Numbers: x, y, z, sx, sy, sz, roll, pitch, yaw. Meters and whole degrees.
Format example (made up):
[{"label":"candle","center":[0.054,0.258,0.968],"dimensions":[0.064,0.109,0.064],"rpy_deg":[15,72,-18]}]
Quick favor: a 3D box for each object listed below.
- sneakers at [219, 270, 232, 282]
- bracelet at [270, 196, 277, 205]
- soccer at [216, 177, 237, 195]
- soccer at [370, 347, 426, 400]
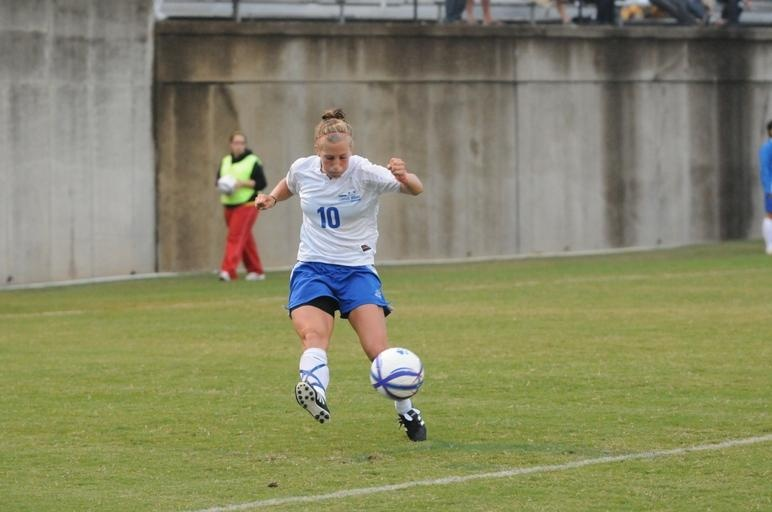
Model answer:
[{"label":"sneakers","center":[-2.668,0.276,30.196],"dimensions":[0.151,0.187,0.172],"rpy_deg":[0,40,18]},{"label":"bracelet","center":[-1.380,-0.710,22.476],"dimensions":[0.094,0.107,0.110],"rpy_deg":[-12,4,-13]},{"label":"soccer","center":[-2.559,-1.166,29.531],"dimensions":[0.308,0.233,0.426],"rpy_deg":[28,-12,-2]},{"label":"soccer","center":[0.119,1.408,21.922],"dimensions":[0.676,0.638,0.672],"rpy_deg":[11,19,-1]}]
